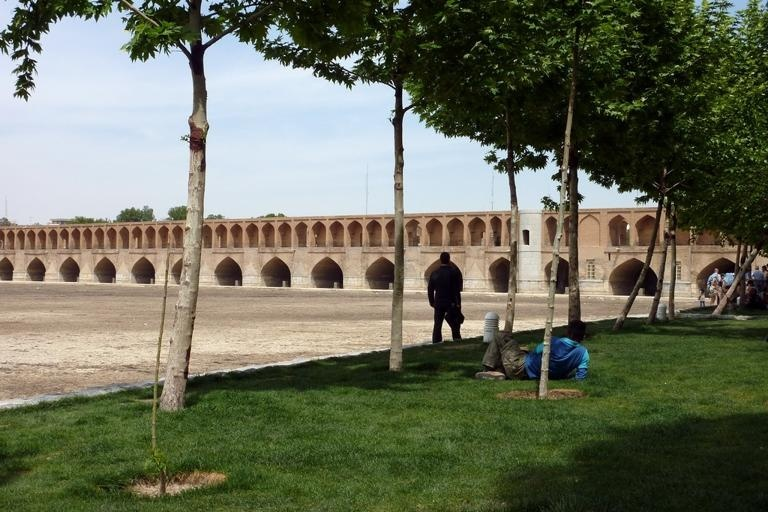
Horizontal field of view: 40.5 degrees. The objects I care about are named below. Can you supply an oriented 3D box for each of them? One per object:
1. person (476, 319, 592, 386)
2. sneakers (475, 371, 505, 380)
[{"bbox_3d":[2.352,1.562,16.283,1.758,0.739,1.395,-1,10,5],"label":"person"},{"bbox_3d":[1.660,1.858,16.276,0.429,0.161,0.158,2,-6,20],"label":"sneakers"}]
